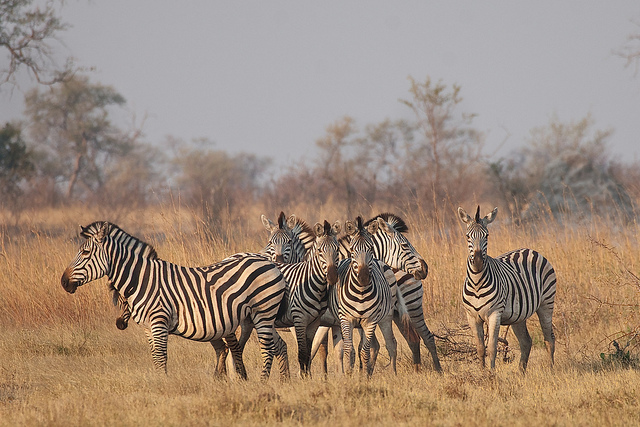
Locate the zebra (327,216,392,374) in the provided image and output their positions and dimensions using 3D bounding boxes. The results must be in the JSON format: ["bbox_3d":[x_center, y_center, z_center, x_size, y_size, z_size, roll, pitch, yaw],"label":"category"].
[{"bbox_3d":[0.879,1.835,23.581,1.377,3.642,4.579,0,1,2],"label":"zebra"}]

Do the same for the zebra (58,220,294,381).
[{"bbox_3d":[-3.033,1.827,22.707,4.749,3.823,1.432,-2,1,-19],"label":"zebra"}]
